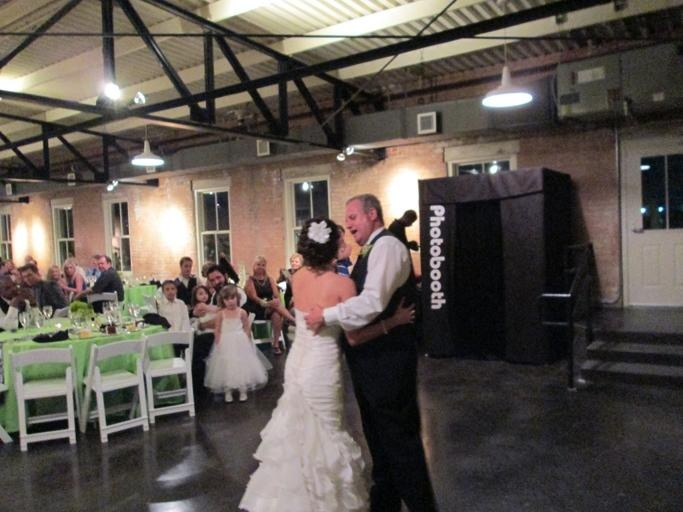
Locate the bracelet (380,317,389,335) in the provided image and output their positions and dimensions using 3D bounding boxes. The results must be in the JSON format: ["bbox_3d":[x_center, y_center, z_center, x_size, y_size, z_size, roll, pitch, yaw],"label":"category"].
[{"bbox_3d":[0.337,0.553,4.389,0.066,0.116,0.018,-4,11,-11],"label":"bracelet"}]

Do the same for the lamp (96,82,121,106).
[{"bbox_3d":[-2.970,-2.063,7.213,0.258,0.275,0.505,-7,12,-25],"label":"lamp"}]

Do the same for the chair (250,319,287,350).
[{"bbox_3d":[-1.214,1.263,9.403,0.603,0.607,0.498,-1,2,17],"label":"chair"}]

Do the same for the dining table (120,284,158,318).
[{"bbox_3d":[-3.544,0.787,9.855,0.484,0.518,0.471,2,9,3],"label":"dining table"}]

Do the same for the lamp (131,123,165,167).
[{"bbox_3d":[-3.208,-1.893,9.334,0.441,0.776,0.438,2,-14,-35],"label":"lamp"}]
